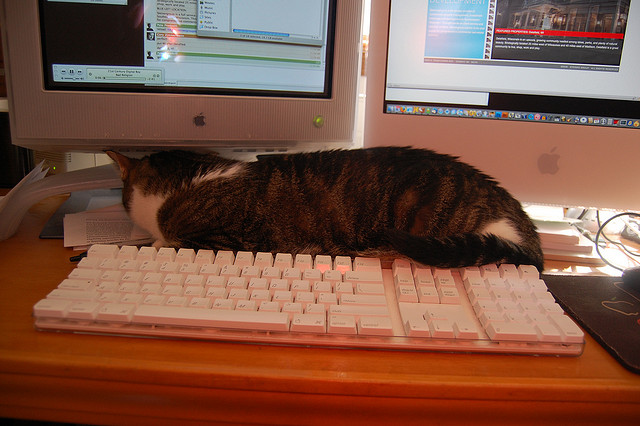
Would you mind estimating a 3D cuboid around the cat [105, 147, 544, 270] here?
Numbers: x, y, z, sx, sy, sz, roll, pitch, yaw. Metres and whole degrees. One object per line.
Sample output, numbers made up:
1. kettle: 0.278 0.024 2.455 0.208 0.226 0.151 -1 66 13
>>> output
1. cat: -0.026 -0.011 1.065 1.048 0.263 0.289 0 -5 12
